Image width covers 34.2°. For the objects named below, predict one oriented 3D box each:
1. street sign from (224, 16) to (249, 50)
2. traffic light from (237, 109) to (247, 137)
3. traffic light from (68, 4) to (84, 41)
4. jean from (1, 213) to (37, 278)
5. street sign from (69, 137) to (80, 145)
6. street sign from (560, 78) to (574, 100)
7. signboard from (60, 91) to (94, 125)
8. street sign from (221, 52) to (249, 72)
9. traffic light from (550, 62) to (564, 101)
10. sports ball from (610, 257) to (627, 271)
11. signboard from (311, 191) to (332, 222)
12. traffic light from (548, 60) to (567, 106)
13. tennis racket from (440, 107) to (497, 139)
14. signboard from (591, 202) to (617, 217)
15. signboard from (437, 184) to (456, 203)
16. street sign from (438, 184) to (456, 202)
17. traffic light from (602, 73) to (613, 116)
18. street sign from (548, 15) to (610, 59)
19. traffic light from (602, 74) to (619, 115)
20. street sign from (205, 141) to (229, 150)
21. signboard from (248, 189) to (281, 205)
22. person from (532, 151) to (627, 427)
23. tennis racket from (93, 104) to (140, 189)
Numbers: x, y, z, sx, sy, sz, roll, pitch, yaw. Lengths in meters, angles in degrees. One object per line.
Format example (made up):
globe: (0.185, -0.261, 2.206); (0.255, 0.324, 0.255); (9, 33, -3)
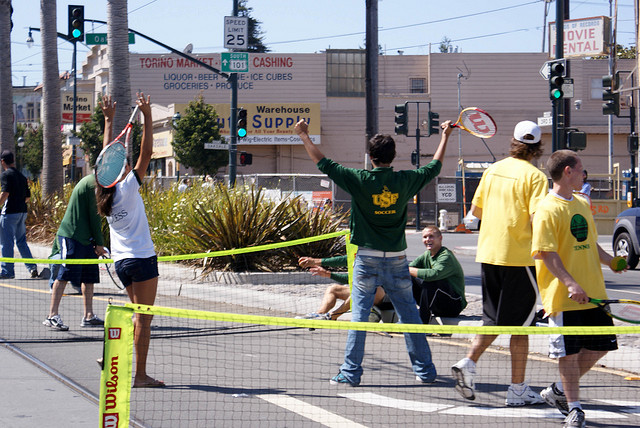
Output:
street sign: (-2.298, -4.966, 28.455); (0.640, 0.879, 0.775); (-1, 11, -6)
traffic light: (-2.297, -2.666, 30.510); (0.259, 0.821, 0.711); (-2, 11, -9)
traffic light: (-6.850, -5.334, 29.134); (0.415, 0.951, 1.452); (-2, 11, -13)
jean: (-6.198, 0.659, 21.103); (0.657, 1.398, 1.382); (-1, 10, -5)
street sign: (-9.662, -2.934, 40.717); (0.411, 0.236, 0.397); (0, -4, -10)
street sign: (5.431, -2.721, 22.629); (0.241, 0.465, 0.447); (1, 11, 7)
signboard: (-10.771, -4.515, 44.123); (1.249, 1.435, 2.190); (4, 7, 27)
street sign: (-2.321, -4.157, 28.516); (0.716, 0.530, 0.629); (-2, 11, -10)
traffic light: (5.242, -2.909, 22.782); (0.303, 0.819, 0.384); (2, 11, 11)
sports ball: (3.755, 0.609, 12.946); (0.174, 0.167, 0.172); (-10, 11, 2)
signboard: (-0.001, -0.287, 22.607); (0.477, 0.779, 0.434); (-5, 30, -10)
traffic light: (5.284, -2.900, 22.862); (0.430, 0.980, 0.599); (2, 11, 13)
tennis racket: (2.054, -1.242, 14.582); (0.883, 0.089, 0.521); (17, -13, 35)
signboard: (8.918, -0.207, 32.381); (0.956, 0.549, 0.510); (0, 3, 7)
signboard: (5.047, -0.825, 40.856); (0.727, 0.616, 0.075); (0, 8, 6)
street sign: (5.061, -0.856, 40.888); (0.701, 0.722, 0.467); (1, 11, 5)
traffic light: (8.119, -3.307, 29.028); (0.303, 1.155, 2.264); (3, 11, 15)
street sign: (9.823, -6.669, 39.285); (2.334, 1.384, 0.352); (2, 4, 41)
traffic light: (8.279, -3.334, 29.267); (0.466, 1.187, 2.807); (3, 11, 15)
street sign: (-3.087, -2.051, 31.063); (0.715, 0.200, 0.615); (-2, 10, -11)
signboard: (-1.062, -0.430, 21.804); (0.497, 0.259, 1.123); (0, 10, -3)
person: (3.182, 0.915, 12.877); (1.079, 3.320, 1.015); (2, 11, 11)
tennis racket: (-2.623, -0.995, 13.826); (0.473, 1.362, 0.063); (8, -23, 28)
